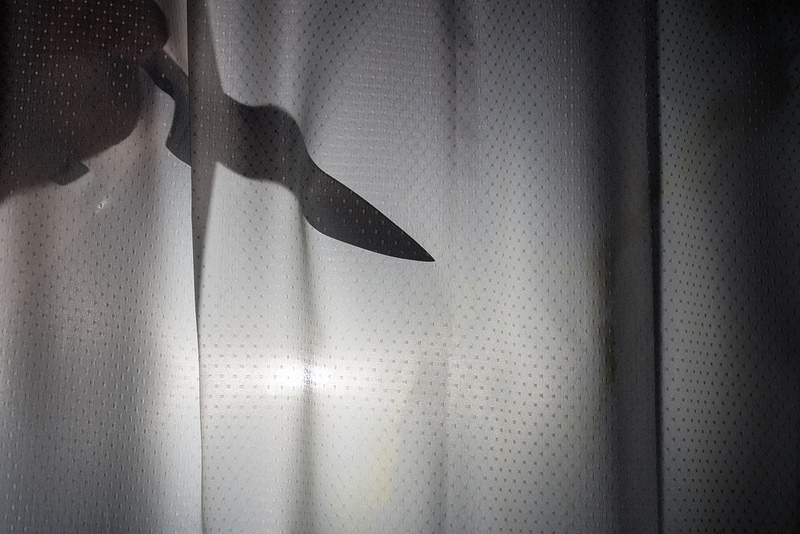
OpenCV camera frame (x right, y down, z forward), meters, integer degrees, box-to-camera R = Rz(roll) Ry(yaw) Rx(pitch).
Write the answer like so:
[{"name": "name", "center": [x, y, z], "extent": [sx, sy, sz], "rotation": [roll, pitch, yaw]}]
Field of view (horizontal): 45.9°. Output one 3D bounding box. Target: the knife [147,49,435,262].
[{"name": "knife", "center": [-0.196, -0.199, 1.718], "extent": [0.537, 0.324, 0.031], "rotation": [6, -4, -5]}]
